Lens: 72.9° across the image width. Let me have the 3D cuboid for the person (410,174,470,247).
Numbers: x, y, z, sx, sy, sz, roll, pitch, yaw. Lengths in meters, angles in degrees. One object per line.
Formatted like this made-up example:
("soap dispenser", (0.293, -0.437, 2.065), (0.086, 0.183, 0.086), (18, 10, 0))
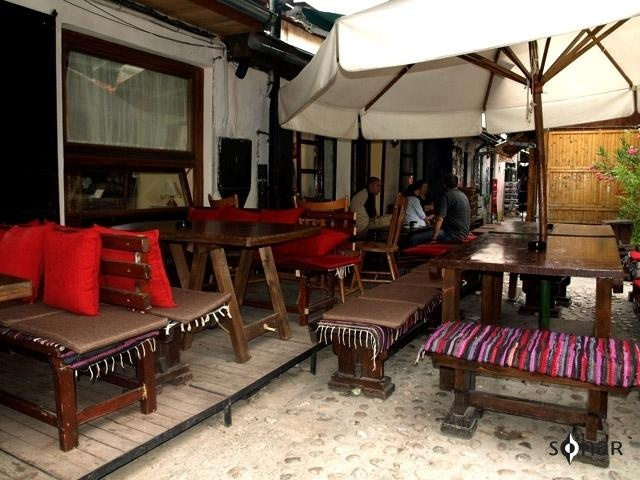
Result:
("person", (1.898, -0.425, 6.836), (0.939, 1.130, 0.892), (2, 5, 8))

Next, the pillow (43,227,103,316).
("pillow", (-1.613, 0.211, 2.813), (0.599, 0.496, 0.196), (4, 5, 31))

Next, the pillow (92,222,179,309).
("pillow", (-1.311, 0.182, 3.037), (0.612, 0.477, 0.202), (12, 25, 24))

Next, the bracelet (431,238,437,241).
("bracelet", (1.735, -0.015, 6.550), (0.072, 0.045, 0.024), (0, 17, 27))

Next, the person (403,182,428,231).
("person", (2.016, -0.744, 8.937), (0.578, 0.918, 0.567), (-19, 28, -36))

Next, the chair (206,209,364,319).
("chair", (-0.396, 0.231, 4.529), (1.425, 0.621, 0.547), (1, 3, 29))

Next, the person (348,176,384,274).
("person", (0.855, -0.549, 7.669), (0.718, 1.115, 0.528), (-10, 20, -22))
